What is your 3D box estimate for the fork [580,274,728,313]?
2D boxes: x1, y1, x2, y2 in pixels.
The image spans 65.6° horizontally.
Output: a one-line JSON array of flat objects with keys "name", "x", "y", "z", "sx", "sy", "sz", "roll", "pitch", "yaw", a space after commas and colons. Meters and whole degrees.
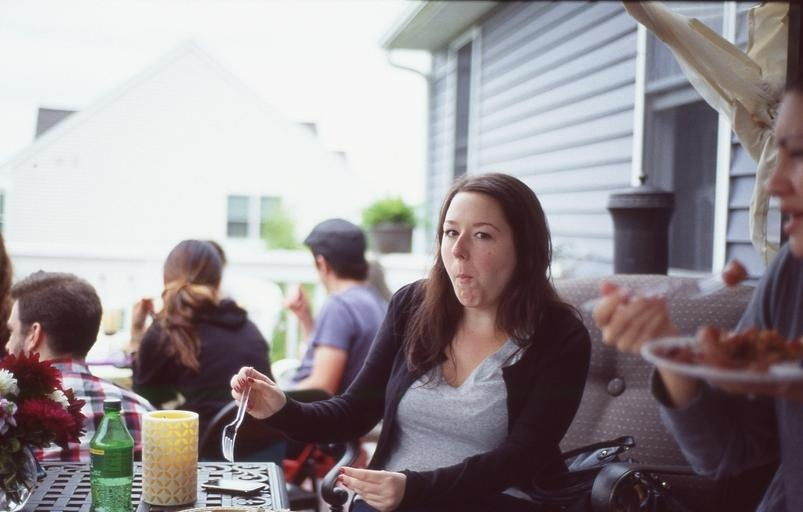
[{"name": "fork", "x": 0.880, "y": 0.132, "z": 2.139, "sx": 0.326, "sy": 0.092, "sz": 0.046, "roll": -10, "pitch": -34, "yaw": -1}]

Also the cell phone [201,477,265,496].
[{"name": "cell phone", "x": -0.503, "y": 0.691, "z": 1.860, "sx": 0.205, "sy": 0.023, "sz": 0.120, "roll": -1, "pitch": 1, "yaw": 11}]

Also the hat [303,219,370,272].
[{"name": "hat", "x": -0.307, "y": -0.050, "z": 2.939, "sx": 0.290, "sy": 0.307, "sz": 0.215, "roll": 8, "pitch": 17, "yaw": -11}]
